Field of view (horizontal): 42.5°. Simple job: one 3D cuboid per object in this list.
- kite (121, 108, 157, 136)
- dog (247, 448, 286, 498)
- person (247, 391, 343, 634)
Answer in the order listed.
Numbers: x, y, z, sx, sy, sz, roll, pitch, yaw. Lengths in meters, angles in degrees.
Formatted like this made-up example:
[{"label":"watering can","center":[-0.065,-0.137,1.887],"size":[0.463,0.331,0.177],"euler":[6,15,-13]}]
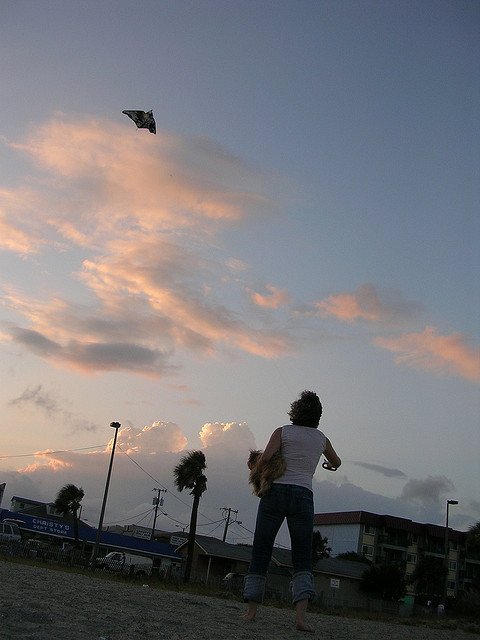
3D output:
[{"label":"kite","center":[-2.336,-4.635,14.280],"size":[0.723,0.793,0.618],"euler":[10,-17,-8]},{"label":"dog","center":[0.181,1.284,5.169],"size":[0.196,0.378,0.466],"euler":[15,-18,-18]},{"label":"person","center":[0.372,1.476,5.025],"size":[0.663,1.885,0.612],"euler":[7,-18,5]}]
